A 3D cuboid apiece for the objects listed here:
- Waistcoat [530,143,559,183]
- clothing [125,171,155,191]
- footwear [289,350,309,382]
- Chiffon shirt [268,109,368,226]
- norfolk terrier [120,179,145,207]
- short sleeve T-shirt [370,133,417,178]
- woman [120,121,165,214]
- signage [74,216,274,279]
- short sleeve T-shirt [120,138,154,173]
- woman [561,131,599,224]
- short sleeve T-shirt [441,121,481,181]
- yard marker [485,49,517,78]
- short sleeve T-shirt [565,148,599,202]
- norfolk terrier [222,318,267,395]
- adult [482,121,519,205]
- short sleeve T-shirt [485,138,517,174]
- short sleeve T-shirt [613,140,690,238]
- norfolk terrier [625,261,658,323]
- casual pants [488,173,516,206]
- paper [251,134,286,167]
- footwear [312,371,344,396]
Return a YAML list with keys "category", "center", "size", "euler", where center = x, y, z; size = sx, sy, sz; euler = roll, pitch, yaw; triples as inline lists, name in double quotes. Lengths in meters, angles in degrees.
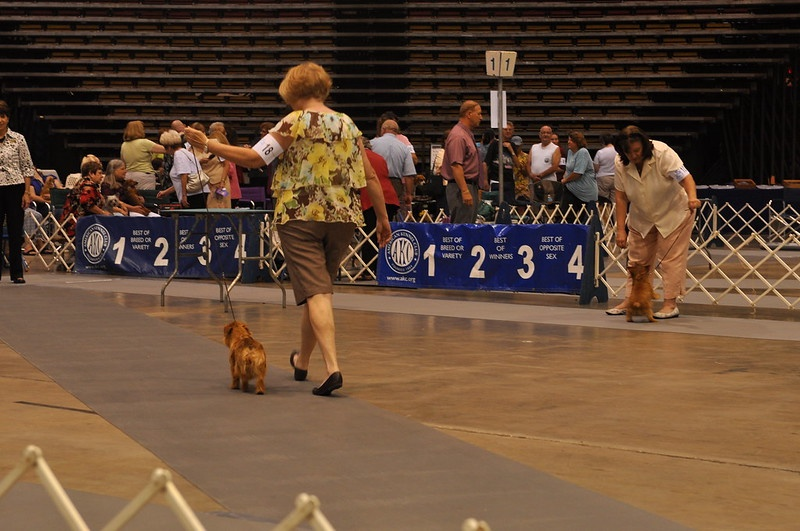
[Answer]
- category: "Waistcoat"
  center: [2.381, -1.754, 17.266]
  size: [0.496, 0.610, 0.365]
  euler: [15, 27, 38]
- category: "clothing"
  center: [-3.767, -1.243, 15.118]
  size: [0.447, 0.398, 0.251]
  euler: [0, 8, -5]
- category: "footwear"
  center: [-0.742, 0.768, 7.752]
  size: [0.094, 0.261, 0.081]
  euler: [4, -35, -22]
- category: "Chiffon shirt"
  center: [-0.590, -0.741, 7.531]
  size: [0.716, 0.819, 0.497]
  euler: [-3, 3, -31]
- category: "norfolk terrier"
  center: [-3.702, -0.983, 14.337]
  size: [0.216, 0.492, 0.350]
  euler: [-19, 32, -15]
- category: "short sleeve T-shirt"
  center: [-0.177, -1.369, 13.278]
  size: [0.740, 0.607, 0.373]
  euler: [4, 12, -6]
- category: "woman"
  center: [-3.722, -1.342, 15.285]
  size: [0.692, 1.525, 0.510]
  euler: [3, 11, 17]
- category: "signage"
  center: [-2.882, -0.219, 13.104]
  size: [3.340, 0.785, 0.349]
  euler: [0, 0, 31]
- category: "short sleeve T-shirt"
  center: [-3.814, -1.571, 15.194]
  size: [0.597, 0.517, 0.332]
  euler: [-8, -7, 25]
- category: "woman"
  center: [2.729, -1.193, 15.836]
  size: [0.586, 1.619, 0.571]
  euler: [7, 12, 33]
- category: "short sleeve T-shirt"
  center: [0.740, -1.336, 12.391]
  size: [0.583, 0.804, 0.923]
  euler: [1, 7, 4]
- category: "yard marker"
  center: [1.360, -2.725, 14.013]
  size: [0.367, 0.407, 0.721]
  euler: [3, 6, 3]
- category: "short sleeve T-shirt"
  center: [2.763, -1.374, 15.843]
  size: [0.540, 0.814, 0.608]
  euler: [-2, 9, -25]
- category: "norfolk terrier"
  center: [-1.117, 0.681, 7.559]
  size: [0.228, 0.455, 0.678]
  euler: [-6, 8, -20]
- category: "adult"
  center: [1.448, -1.219, 14.808]
  size: [0.557, 1.614, 0.382]
  euler: [-1, 6, -2]
- category: "short sleeve T-shirt"
  center: [1.504, -1.468, 14.666]
  size: [0.564, 0.500, 0.203]
  euler: [1, 1, -5]
- category: "short sleeve T-shirt"
  center: [2.502, -0.768, 10.163]
  size: [0.799, 0.915, 0.492]
  euler: [-4, 16, 44]
- category: "norfolk terrier"
  center: [2.327, 0.271, 10.103]
  size: [0.268, 0.477, 0.682]
  euler: [-4, 32, 19]
- category: "casual pants"
  center: [1.519, -1.077, 14.919]
  size: [0.547, 0.499, 0.386]
  euler: [0, -2, -4]
- category: "paper"
  center: [-0.923, -0.820, 7.308]
  size: [0.229, 0.210, 0.162]
  euler: [-1, 7, -28]
- category: "footwear"
  center: [-0.490, 0.838, 7.283]
  size: [0.107, 0.119, 0.287]
  euler: [11, -23, -30]
